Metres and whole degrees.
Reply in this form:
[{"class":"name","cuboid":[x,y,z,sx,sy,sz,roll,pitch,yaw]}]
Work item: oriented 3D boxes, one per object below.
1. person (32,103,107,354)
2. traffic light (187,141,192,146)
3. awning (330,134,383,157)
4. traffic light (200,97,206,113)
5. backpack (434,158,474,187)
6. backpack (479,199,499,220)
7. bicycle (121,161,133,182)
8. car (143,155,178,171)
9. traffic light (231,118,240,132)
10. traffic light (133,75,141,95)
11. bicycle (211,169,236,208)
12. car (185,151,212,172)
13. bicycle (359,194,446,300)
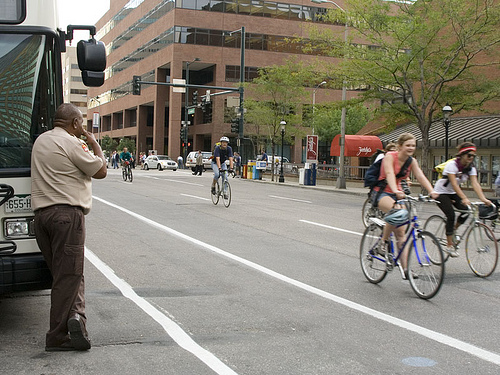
[{"class":"person","cuboid":[-1.907,0.381,5.451,0.724,2.489,0.530,2,3,16]},{"class":"traffic light","cuboid":[-9.349,-7.035,82.666,0.795,0.844,0.857,1,14,-7]},{"class":"awning","cuboid":[7.613,-3.025,38.382,3.963,1.559,2.274,-1,4,-29]},{"class":"traffic light","cuboid":[-4.055,-7.320,46.378,0.379,1.261,1.660,1,4,-6]},{"class":"backpack","cuboid":[3.745,-0.347,9.781,0.466,0.550,0.351,-14,-19,41]},{"class":"backpack","cuboid":[4.267,0.386,9.532,0.365,0.374,0.301,3,3,19]},{"class":"bicycle","cuboid":[-7.358,-0.784,32.223,0.498,0.717,1.079,-2,-2,-28]},{"class":"car","cuboid":[-10.102,-2.776,59.513,2.755,1.599,4.968,0,4,-20]},{"class":"traffic light","cuboid":[-1.143,-5.298,45.093,0.466,1.161,1.948,2,4,11]},{"class":"traffic light","cuboid":[-8.417,-7.640,39.566,0.454,1.354,0.933,1,3,-13]},{"class":"bicycle","cuboid":[-1.051,-0.011,18.775,0.566,1.307,1.970,7,-2,-23]},{"class":"car","cuboid":[-5.645,-3.041,58.124,2.342,2.131,4.047,1,-2,-25]},{"class":"bicycle","cuboid":[2.554,1.030,8.196,0.759,1.265,1.910,4,-4,-22]}]
